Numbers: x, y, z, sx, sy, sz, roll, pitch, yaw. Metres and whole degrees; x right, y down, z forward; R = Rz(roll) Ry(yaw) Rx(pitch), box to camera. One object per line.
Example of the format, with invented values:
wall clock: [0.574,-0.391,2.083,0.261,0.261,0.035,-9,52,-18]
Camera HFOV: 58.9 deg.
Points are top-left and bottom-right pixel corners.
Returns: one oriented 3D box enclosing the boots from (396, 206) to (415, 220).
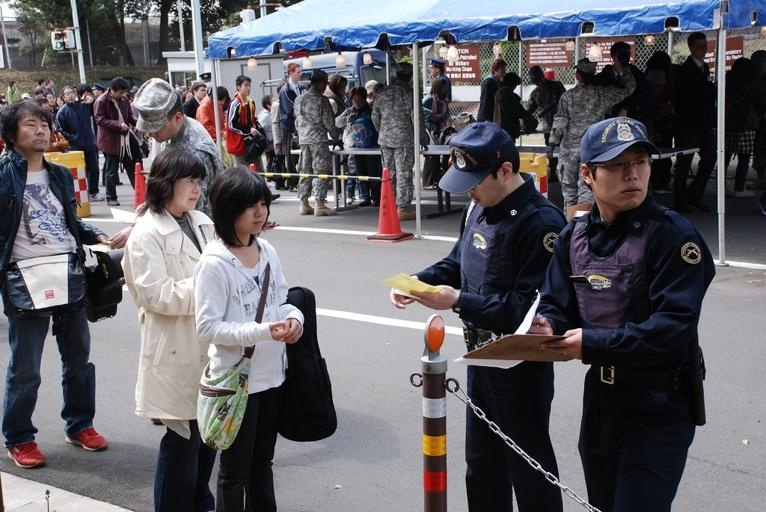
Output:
boots: [0.436,-0.794,12.309,0.396,0.276,0.132,-16,30,-23]

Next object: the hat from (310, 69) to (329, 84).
hat: [-1.212,-3.361,12.744,0.270,0.342,0.328,3,-14,6]

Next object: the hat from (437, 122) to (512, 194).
hat: [0.555,-0.565,3.913,0.434,0.385,0.299,-5,12,-9]

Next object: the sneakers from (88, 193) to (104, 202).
sneakers: [-6.532,-1.293,15.453,0.369,0.158,0.156,-8,33,-16]

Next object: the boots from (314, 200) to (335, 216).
boots: [-1.198,-0.944,13.162,0.502,0.338,0.197,-10,24,-20]

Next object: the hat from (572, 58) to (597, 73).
hat: [3.272,-3.044,10.905,0.269,0.254,0.390,3,13,27]

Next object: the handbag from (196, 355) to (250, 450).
handbag: [-0.891,0.814,3.832,0.305,0.492,0.158,-5,12,-12]

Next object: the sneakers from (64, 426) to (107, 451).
sneakers: [-2.402,1.467,5.504,0.331,0.141,0.153,6,3,18]

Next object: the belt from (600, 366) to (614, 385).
belt: [1.131,0.592,3.390,0.027,0.090,0.089,-1,4,-33]

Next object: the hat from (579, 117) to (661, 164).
hat: [1.186,-0.570,3.387,0.244,0.161,0.313,-16,5,-27]

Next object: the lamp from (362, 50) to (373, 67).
lamp: [-0.400,-5.027,17.248,0.380,0.281,0.734,-1,9,-3]

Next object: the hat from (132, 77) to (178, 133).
hat: [-1.695,-1.120,5.089,0.324,0.403,0.290,-7,12,-19]

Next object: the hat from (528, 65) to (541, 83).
hat: [3.771,-4.403,16.594,0.289,0.423,0.493,0,12,13]

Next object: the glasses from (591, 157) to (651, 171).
glasses: [1.199,-0.450,3.405,0.117,0.046,0.126,-13,-4,-36]

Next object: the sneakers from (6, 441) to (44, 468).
sneakers: [-2.832,1.536,5.328,0.362,0.161,0.141,5,4,32]

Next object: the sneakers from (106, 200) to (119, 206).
sneakers: [-5.815,-1.136,14.607,0.310,0.132,0.126,5,13,36]
